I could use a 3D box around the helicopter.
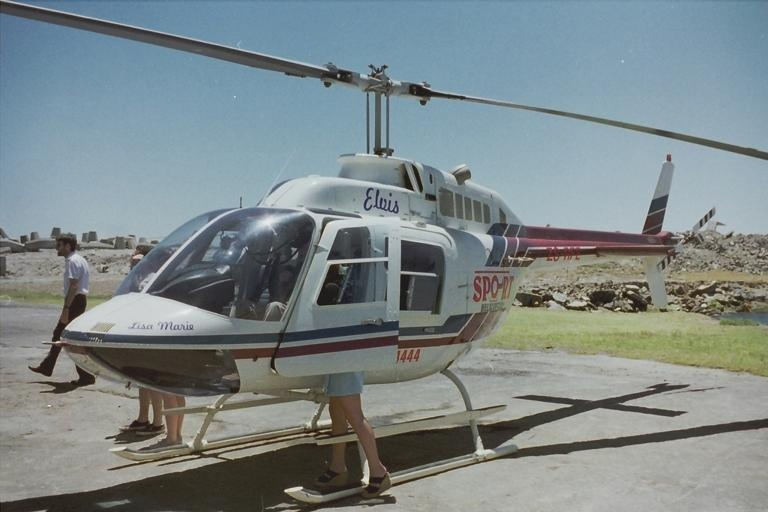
[{"bbox_3d":[-0.028,0.163,9.108,8.176,2.603,7.119,7,-7,-44],"label":"helicopter"}]

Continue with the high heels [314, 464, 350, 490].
[{"bbox_3d":[-0.539,2.581,6.814,0.500,0.154,0.194,12,-16,-41],"label":"high heels"}]

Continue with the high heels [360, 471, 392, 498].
[{"bbox_3d":[-0.039,2.589,6.690,0.406,0.113,0.193,-14,4,-31],"label":"high heels"}]

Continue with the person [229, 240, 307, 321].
[{"bbox_3d":[-1.227,0.256,6.612,0.703,0.917,0.457,9,-1,-11],"label":"person"}]
